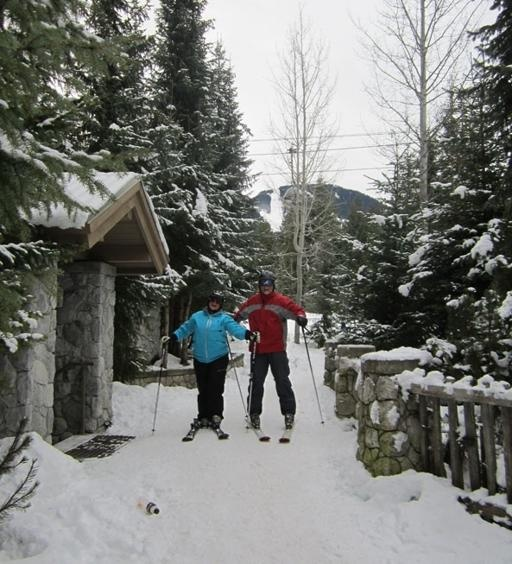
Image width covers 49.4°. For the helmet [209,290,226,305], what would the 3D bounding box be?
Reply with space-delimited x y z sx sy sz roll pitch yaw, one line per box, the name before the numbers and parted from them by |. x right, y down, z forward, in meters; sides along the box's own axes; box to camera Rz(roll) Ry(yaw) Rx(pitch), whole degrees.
helmet | -0.520 0.223 7.219 0.122 0.133 0.169 8 -26 -2

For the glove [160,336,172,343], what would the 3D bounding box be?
glove | -1.165 0.729 7.039 0.175 0.064 0.131 -5 -1 13

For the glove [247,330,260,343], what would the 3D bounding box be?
glove | -0.028 0.686 6.971 0.147 0.174 0.276 0 3 2

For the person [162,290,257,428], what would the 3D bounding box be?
person | -0.583 1.020 7.020 1.061 1.709 1.187 -1 3 -10

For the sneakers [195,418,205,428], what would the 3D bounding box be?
sneakers | -0.701 1.750 6.930 0.095 0.180 0.098 3 -3 4

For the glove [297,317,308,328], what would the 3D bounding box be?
glove | 0.564 0.480 6.648 0.090 0.123 0.123 5 -20 -15
